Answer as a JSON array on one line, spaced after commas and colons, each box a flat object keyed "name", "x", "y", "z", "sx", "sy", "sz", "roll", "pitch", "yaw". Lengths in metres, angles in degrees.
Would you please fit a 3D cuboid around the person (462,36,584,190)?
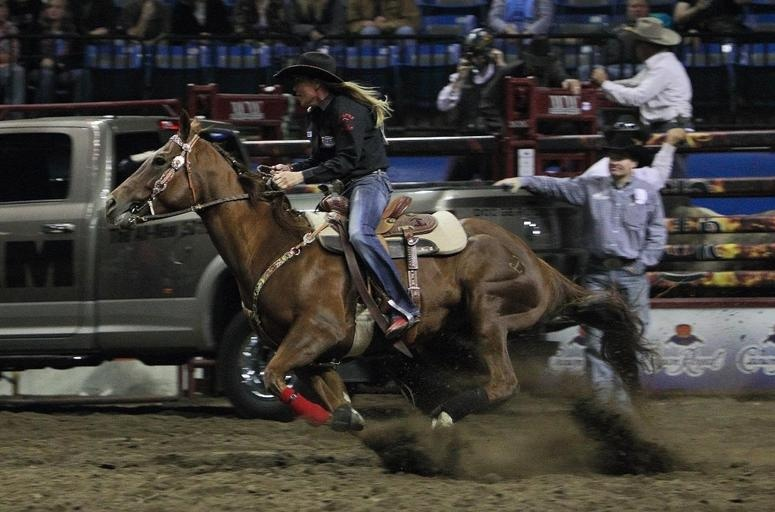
[{"name": "person", "x": 1.572, "y": -1.646, "z": 13.797, "sx": 1.668, "sy": 1.535, "sz": 0.781, "roll": 3, "pitch": -15, "yaw": 37}]

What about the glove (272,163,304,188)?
[{"name": "glove", "x": -0.855, "y": -0.673, "z": 10.092, "sx": 0.238, "sy": 0.082, "sz": 0.277, "roll": 24, "pitch": 12, "yaw": 14}]

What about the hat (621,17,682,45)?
[{"name": "hat", "x": 2.940, "y": -2.470, "z": 12.984, "sx": 0.615, "sy": 0.147, "sz": 0.397, "roll": 12, "pitch": 18, "yaw": -10}]

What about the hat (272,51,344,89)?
[{"name": "hat", "x": -0.676, "y": -1.614, "z": 10.181, "sx": 0.678, "sy": 0.156, "sz": 0.453, "roll": 6, "pitch": -4, "yaw": -18}]
